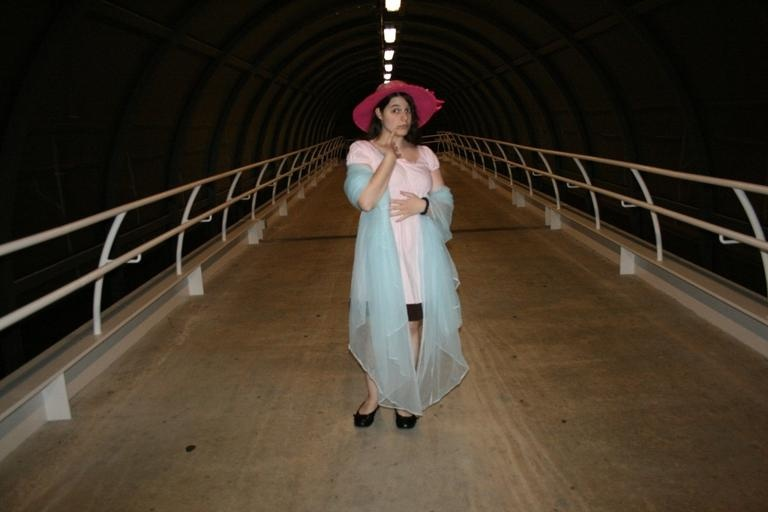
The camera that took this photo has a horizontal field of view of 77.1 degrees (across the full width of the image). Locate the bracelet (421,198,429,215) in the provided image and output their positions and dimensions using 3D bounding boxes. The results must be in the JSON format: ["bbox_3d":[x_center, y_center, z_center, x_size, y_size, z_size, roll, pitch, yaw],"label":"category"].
[{"bbox_3d":[0.302,-0.364,3.497,0.063,0.107,0.094,1,-27,2],"label":"bracelet"}]

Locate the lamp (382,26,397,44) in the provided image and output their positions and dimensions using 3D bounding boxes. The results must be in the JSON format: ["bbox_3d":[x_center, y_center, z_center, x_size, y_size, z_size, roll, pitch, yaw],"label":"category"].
[{"bbox_3d":[0.145,-5.246,11.317,0.320,0.387,0.332,3,-7,-7],"label":"lamp"}]

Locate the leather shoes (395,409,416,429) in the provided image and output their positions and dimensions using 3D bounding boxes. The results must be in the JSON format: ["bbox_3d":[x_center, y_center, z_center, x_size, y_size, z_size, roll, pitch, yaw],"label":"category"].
[{"bbox_3d":[0.165,1.217,3.586,0.133,0.095,0.257,1,-8,1],"label":"leather shoes"}]

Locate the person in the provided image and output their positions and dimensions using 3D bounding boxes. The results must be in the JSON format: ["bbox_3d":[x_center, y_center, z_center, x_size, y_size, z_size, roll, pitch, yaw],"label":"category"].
[{"bbox_3d":[0.150,-0.139,3.682,0.848,2.615,1.373,-3,-27,10],"label":"person"}]
